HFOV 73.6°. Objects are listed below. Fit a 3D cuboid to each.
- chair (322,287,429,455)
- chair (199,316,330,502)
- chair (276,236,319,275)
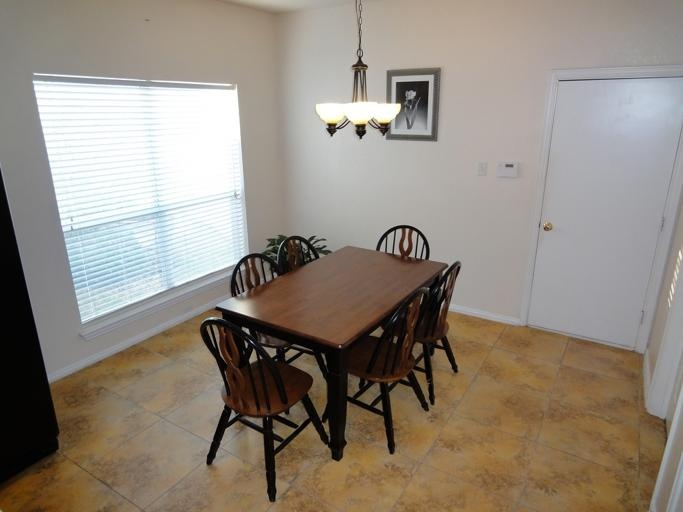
[{"bbox_3d":[0.239,0.827,3.287,0.614,1.284,0.632,16,26,36],"label":"chair"},{"bbox_3d":[-0.534,0.897,3.093,0.816,1.151,0.553,11,20,25],"label":"chair"},{"bbox_3d":[-0.415,0.006,4.286,0.226,0.381,0.244,17,33,26],"label":"chair"}]
